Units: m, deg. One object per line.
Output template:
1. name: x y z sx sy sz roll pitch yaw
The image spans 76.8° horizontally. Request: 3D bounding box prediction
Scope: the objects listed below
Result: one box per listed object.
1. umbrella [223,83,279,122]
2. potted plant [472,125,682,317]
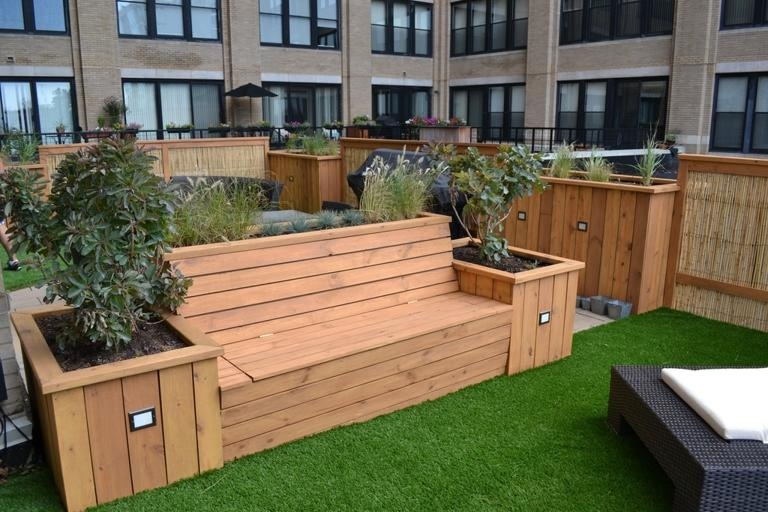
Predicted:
1. umbrella: -5.076 -6.052 19.007 1.311 0.917 1.240 11 19 27
2. potted plant: 2.762 -0.493 6.865 0.885 1.620 2.507 -25 29 -30
